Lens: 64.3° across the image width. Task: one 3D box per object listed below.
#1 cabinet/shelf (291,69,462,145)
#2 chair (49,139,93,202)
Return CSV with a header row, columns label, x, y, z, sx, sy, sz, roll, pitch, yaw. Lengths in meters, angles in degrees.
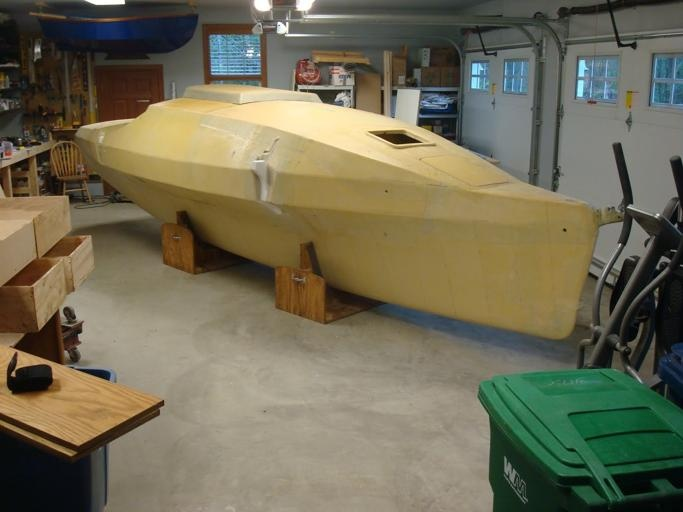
label,x,y,z,sx,sy,sz,roll,pitch,yaw
cabinet/shelf,0.710,-2.407,8.527,2.476,1.173,1.602,0,16,-1
chair,-3.915,-1.212,7.854,0.395,0.910,0.446,10,18,31
